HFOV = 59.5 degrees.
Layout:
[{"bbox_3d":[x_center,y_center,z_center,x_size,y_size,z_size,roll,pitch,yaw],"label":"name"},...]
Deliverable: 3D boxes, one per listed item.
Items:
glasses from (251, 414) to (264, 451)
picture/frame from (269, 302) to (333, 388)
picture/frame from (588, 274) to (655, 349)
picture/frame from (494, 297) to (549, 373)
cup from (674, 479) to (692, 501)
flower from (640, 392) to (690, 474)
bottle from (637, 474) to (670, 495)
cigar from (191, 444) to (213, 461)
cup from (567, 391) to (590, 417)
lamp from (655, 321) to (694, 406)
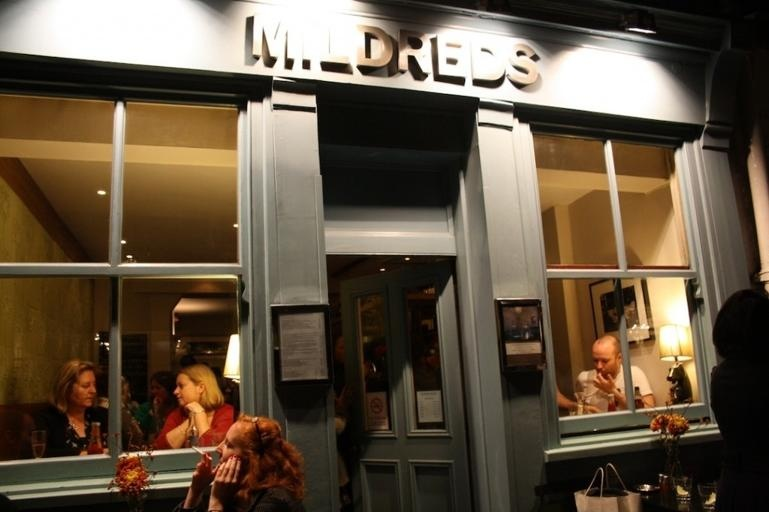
[{"bbox_3d":[-0.743,1.061,4.035,0.052,0.148,0.105,5,1,3],"label":"glasses"},{"bbox_3d":[-0.572,0.600,4.450,0.507,0.710,0.085,-1,-10,-10],"label":"picture/frame"},{"bbox_3d":[1.832,0.444,5.243,0.529,0.640,0.022,-2,-7,-10],"label":"picture/frame"},{"bbox_3d":[0.979,0.575,4.884,0.507,0.713,0.084,0,-7,-17],"label":"picture/frame"},{"bbox_3d":[2.111,1.636,4.723,0.116,0.139,0.119,2,-11,0],"label":"cup"},{"bbox_3d":[2.165,1.373,5.076,0.270,0.468,0.513,-6,-10,21],"label":"flower"},{"bbox_3d":[1.978,1.656,4.886,0.165,0.070,0.131,1,-8,-8],"label":"bottle"},{"bbox_3d":[-1.187,1.262,4.332,0.164,0.067,0.107,10,24,-24],"label":"cigar"},{"bbox_3d":[1.490,1.136,5.203,0.184,0.200,0.118,4,-13,-11],"label":"cup"},{"bbox_3d":[2.382,0.878,5.438,0.241,0.625,0.241,2,-18,-6],"label":"lamp"}]
